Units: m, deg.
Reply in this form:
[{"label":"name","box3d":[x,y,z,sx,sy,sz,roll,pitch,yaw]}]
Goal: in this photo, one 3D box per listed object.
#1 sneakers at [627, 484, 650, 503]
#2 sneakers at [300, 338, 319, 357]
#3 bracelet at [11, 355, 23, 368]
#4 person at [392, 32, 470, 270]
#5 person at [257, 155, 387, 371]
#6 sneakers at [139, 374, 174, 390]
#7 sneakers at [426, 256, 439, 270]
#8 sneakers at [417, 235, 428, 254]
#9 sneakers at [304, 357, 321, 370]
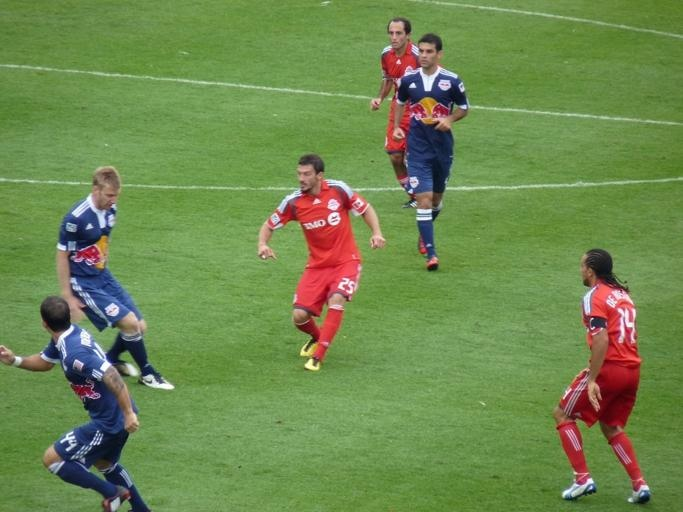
[{"label":"sneakers","box3d":[3.226,2.570,14.927,0.135,0.123,0.319,1,-2,-8]},{"label":"sneakers","box3d":[-0.363,1.112,17.234,0.344,0.129,0.129,-29,24,-35]},{"label":"bracelet","box3d":[-3.459,1.112,14.868,0.127,0.105,0.121,6,-19,-10]},{"label":"person","box3d":[1.154,-1.444,18.882,0.636,3.202,0.923,-13,19,-43]},{"label":"person","box3d":[-0.226,0.036,17.006,1.506,2.581,0.974,0,14,-3]},{"label":"sneakers","box3d":[-2.160,1.463,16.464,0.434,0.135,0.165,7,9,2]},{"label":"sneakers","box3d":[1.229,0.088,18.885,0.157,0.137,0.211,-1,-1,-4]},{"label":"sneakers","box3d":[1.126,-0.169,19.309,0.099,0.226,0.105,8,-37,-20]},{"label":"sneakers","box3d":[-0.336,1.297,16.863,0.199,0.117,0.306,1,-2,2]}]
